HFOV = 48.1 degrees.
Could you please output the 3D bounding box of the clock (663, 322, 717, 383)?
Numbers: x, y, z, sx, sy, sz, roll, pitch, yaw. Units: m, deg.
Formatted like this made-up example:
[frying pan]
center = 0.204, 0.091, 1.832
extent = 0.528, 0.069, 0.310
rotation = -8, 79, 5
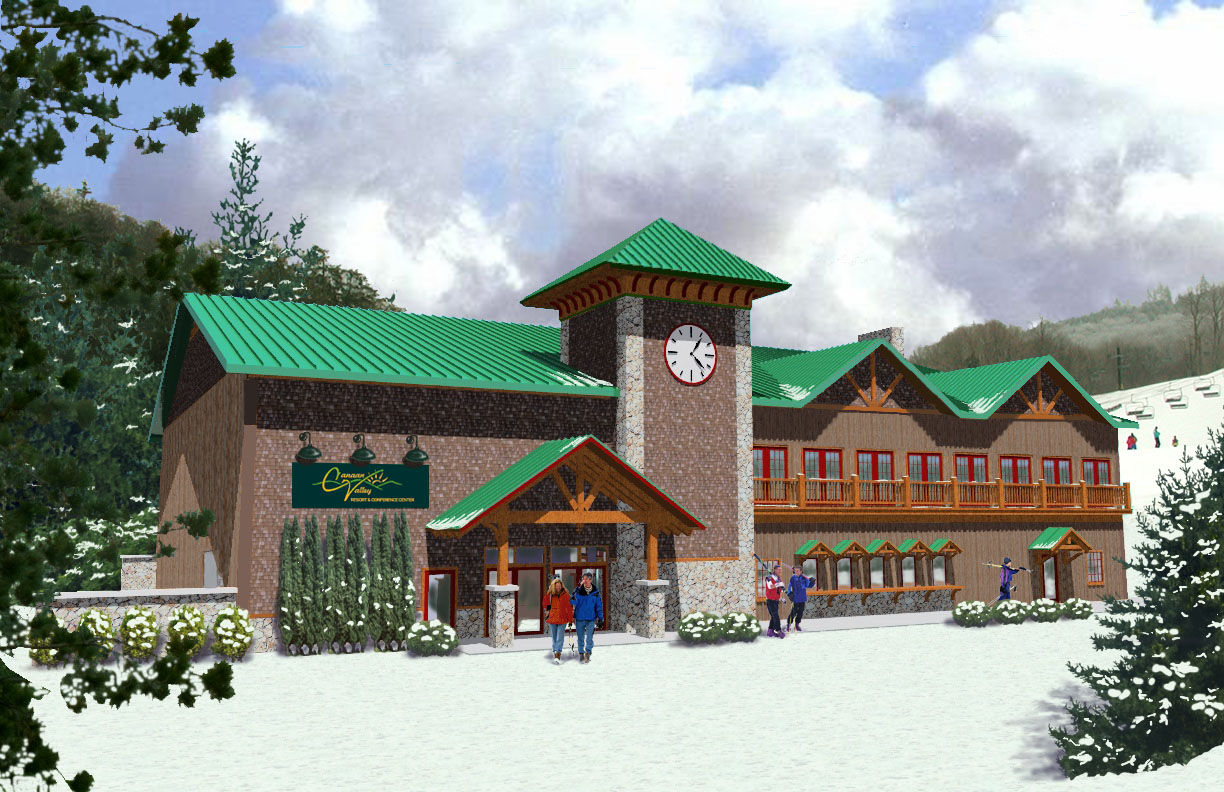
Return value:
[clock]
center = 2.493, -1.308, 43.204
extent = 1.968, 1.980, 0.124
rotation = 4, -8, -33
